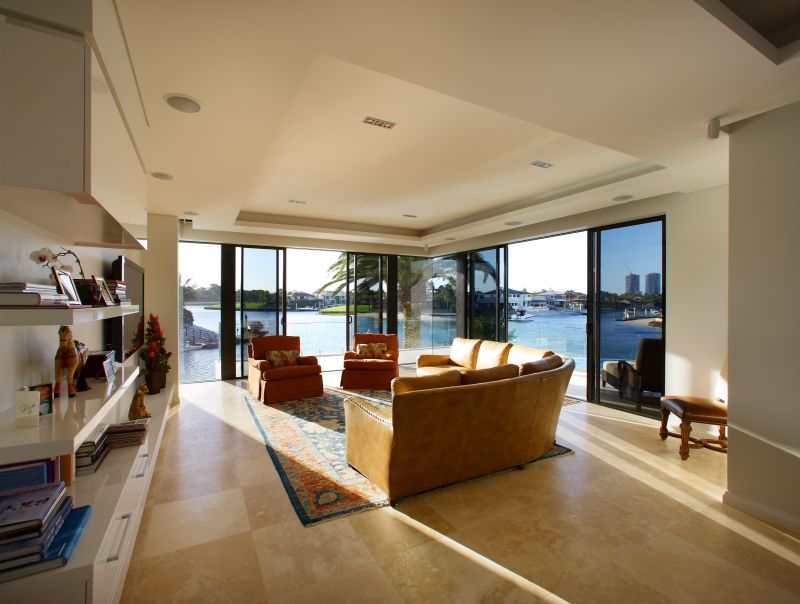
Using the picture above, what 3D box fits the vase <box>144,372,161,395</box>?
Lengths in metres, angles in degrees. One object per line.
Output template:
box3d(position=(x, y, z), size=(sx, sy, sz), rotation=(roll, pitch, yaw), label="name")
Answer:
box3d(position=(-2.631, 0.869, 5.343), size=(0.074, 0.238, 0.236), rotation=(-1, 0, 12), label="vase")

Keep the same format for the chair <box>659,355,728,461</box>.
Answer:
box3d(position=(2.785, 1.014, 4.914), size=(0.719, 1.179, 0.743), rotation=(0, -5, 20), label="chair")

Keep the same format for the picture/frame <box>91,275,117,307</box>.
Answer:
box3d(position=(-2.067, -0.064, 3.513), size=(0.049, 0.211, 0.210), rotation=(-12, 16, -39), label="picture/frame")

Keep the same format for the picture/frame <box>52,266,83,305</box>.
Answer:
box3d(position=(-1.939, -0.085, 2.929), size=(0.020, 0.299, 0.238), rotation=(-18, 5, -7), label="picture/frame")

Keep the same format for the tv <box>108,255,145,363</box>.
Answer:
box3d(position=(-2.443, 0.073, 4.484), size=(0.118, 0.789, 1.076), rotation=(1, 0, -14), label="tv")

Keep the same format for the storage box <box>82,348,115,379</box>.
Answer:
box3d(position=(-2.099, 0.414, 3.491), size=(0.142, 0.182, 0.261), rotation=(-1, 0, -23), label="storage box")
